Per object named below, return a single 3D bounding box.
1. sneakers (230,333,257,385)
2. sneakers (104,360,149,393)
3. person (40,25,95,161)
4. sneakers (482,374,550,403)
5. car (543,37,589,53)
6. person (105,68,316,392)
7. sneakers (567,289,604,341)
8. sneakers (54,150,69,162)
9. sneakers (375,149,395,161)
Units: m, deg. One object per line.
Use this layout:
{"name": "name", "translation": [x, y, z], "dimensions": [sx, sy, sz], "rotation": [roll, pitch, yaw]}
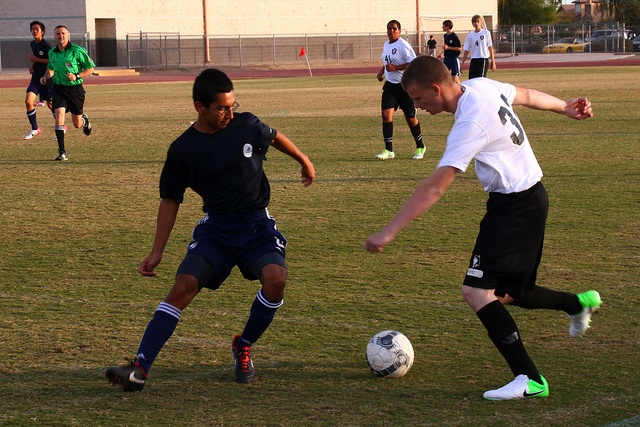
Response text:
{"name": "sneakers", "translation": [-0.618, 1.159, 7.452], "dimensions": [0.167, 0.362, 0.220], "rotation": [-3, 13, -5]}
{"name": "sneakers", "translation": [-1.458, 1.237, 7.039], "dimensions": [0.341, 0.228, 0.161], "rotation": [26, -9, -11]}
{"name": "person", "translation": [-4.011, -1.975, 14.859], "dimensions": [0.764, 2.044, 1.481], "rotation": [-6, 13, -15]}
{"name": "sneakers", "translation": [1.531, 1.348, 7.101], "dimensions": [0.537, 0.172, 0.174], "rotation": [0, -2, -2]}
{"name": "car", "translation": [14.969, -10.264, 56.270], "dimensions": [2.421, 0.592, 0.983], "rotation": [-4, 8, -25]}
{"name": "person", "translation": [-0.840, 0.090, 7.435], "dimensions": [1.668, 2.464, 1.016], "rotation": [-5, 13, -12]}
{"name": "sneakers", "translation": [2.189, 0.830, 7.757], "dimensions": [0.247, 0.456, 0.174], "rotation": [5, 33, -7]}
{"name": "sneakers", "translation": [-4.062, -0.907, 14.457], "dimensions": [0.101, 0.121, 0.243], "rotation": [-3, 11, -8]}
{"name": "sneakers", "translation": [1.017, -0.906, 14.083], "dimensions": [0.335, 0.125, 0.120], "rotation": [-3, 8, -28]}
